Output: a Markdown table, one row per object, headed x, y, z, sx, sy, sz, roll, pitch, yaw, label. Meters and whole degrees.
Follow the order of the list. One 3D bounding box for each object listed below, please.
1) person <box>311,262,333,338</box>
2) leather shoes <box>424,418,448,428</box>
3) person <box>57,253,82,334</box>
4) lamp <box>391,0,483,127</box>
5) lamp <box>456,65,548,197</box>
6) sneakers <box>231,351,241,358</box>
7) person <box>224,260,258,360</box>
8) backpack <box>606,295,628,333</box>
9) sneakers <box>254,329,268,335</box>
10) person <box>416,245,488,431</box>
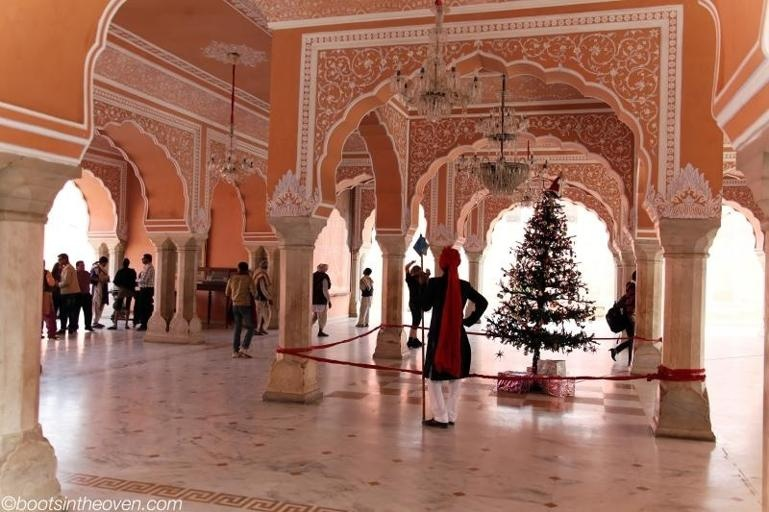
| x | y | z | sx | sy | sz | roll | pitch | yaw | label |
| --- | --- | --- | --- | --- | --- | --- | --- | --- | --- |
| -1.448 | 1.006 | 14.646 | 0.368 | 1.419 | 1.451 | 1 | 1 | -5 | person |
| 0.627 | 1.994 | 7.686 | 0.292 | 0.109 | 0.109 | 5 | 2 | 18 | leather shoes |
| -6.742 | 0.787 | 13.526 | 0.423 | 1.142 | 0.743 | 1 | 1 | -27 | person |
| 0.618 | -2.553 | 8.098 | 0.934 | 1.367 | 1.016 | 1 | 1 | -42 | lamp |
| 2.230 | -2.395 | 11.754 | 1.938 | 2.974 | 1.984 | 2 | 6 | 7 | lamp |
| -2.682 | 1.769 | 11.437 | 0.086 | 0.104 | 0.236 | 0 | -8 | -4 | sneakers |
| -2.567 | 0.961 | 11.339 | 0.481 | 1.317 | 1.072 | 1 | 1 | -12 | person |
| 4.186 | 1.054 | 11.375 | 0.214 | 0.559 | 0.395 | 5 | 7 | 9 | backpack |
| -2.878 | 1.770 | 14.756 | 0.300 | 0.132 | 0.103 | -2 | -4 | 6 | sneakers |
| 0.801 | 0.971 | 7.576 | 0.732 | 1.961 | 0.549 | 2 | 1 | 3 | person |
